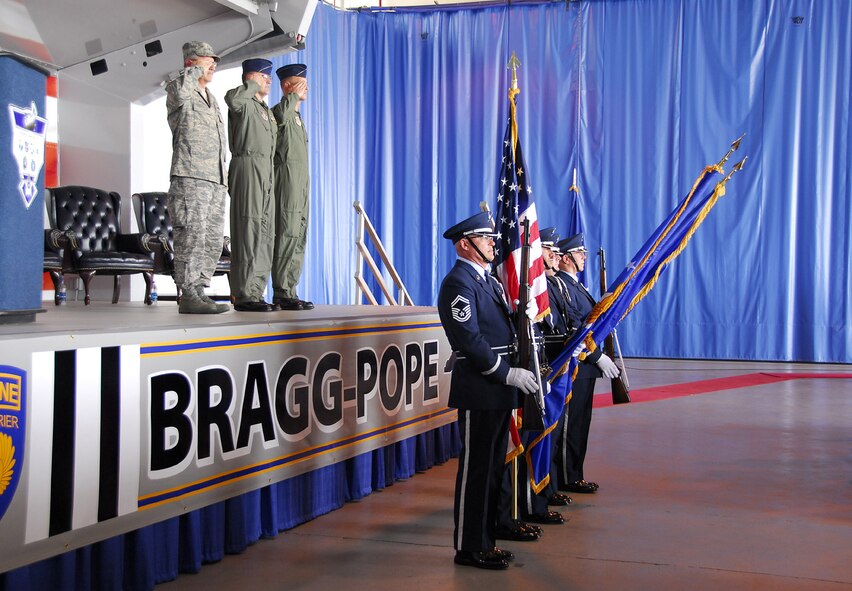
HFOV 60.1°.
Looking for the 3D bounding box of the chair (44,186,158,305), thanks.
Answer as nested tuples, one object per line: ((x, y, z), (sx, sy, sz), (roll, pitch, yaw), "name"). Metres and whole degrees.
((-3.253, -0.527, 7.350), (0.883, 1.282, 0.810), (-4, -1, 41), "chair")

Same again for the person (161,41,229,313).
((-1.577, -0.808, 5.106), (0.391, 1.866, 0.418), (-2, 5, -19), "person")

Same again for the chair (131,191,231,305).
((-2.657, -0.497, 8.015), (0.825, 1.387, 0.960), (-6, 0, 11), "chair")

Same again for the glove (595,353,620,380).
((1.265, 0.511, 5.138), (0.045, 0.114, 0.205), (2, -38, 39), "glove")

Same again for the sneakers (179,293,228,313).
((-1.540, 0.063, 5.117), (0.397, 0.201, 0.148), (0, 0, 6), "sneakers")

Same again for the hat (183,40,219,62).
((-1.578, -1.682, 5.087), (0.255, 0.158, 0.221), (-2, 8, 2), "hat")

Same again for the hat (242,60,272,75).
((-1.300, -1.761, 5.651), (0.152, 0.088, 0.142), (-1, 2, 36), "hat")

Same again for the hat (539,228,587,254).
((1.022, -0.374, 5.359), (0.263, 0.125, 0.240), (1, 0, 21), "hat")

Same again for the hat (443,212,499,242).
((0.260, -0.384, 4.342), (0.211, 0.112, 0.205), (-11, 2, 8), "hat")

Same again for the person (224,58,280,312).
((-1.297, -0.835, 5.526), (0.365, 1.897, 0.542), (-1, 5, -16), "person")

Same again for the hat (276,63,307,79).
((-1.107, -1.826, 6.058), (0.170, 0.089, 0.163), (2, 12, 35), "hat")

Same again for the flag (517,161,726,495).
((2.115, 0.331, 7.274), (0.568, 3.554, 0.460), (25, 0, 2), "flag")

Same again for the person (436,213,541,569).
((0.342, 0.539, 4.265), (0.522, 2.015, 0.383), (0, 5, 1), "person")
